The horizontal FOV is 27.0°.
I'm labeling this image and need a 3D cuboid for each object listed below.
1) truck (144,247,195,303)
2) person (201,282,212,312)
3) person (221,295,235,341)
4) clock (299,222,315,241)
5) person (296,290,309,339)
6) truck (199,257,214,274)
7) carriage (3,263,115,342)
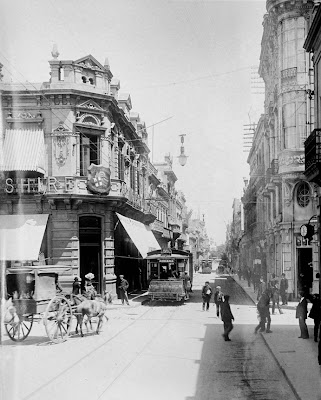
[{"bbox_3d":[0.596,4.067,36.647,2.283,3.105,6.374,1,-7,2],"label":"truck"},{"bbox_3d":[2.142,4.290,30.258,0.403,1.510,0.402,2,26,0],"label":"person"},{"bbox_3d":[2.333,4.058,23.056,0.429,1.519,1.653,0,-7,6],"label":"person"},{"bbox_3d":[5.950,1.269,26.839,0.350,0.721,1.195,0,-7,5],"label":"clock"},{"bbox_3d":[4.903,3.958,22.874,0.384,1.439,0.717,-2,1,12],"label":"person"},{"bbox_3d":[6.814,9.423,94.675,1.501,2.189,3.061,0,-7,1],"label":"truck"},{"bbox_3d":[-3.581,3.477,23.076,1.664,2.843,4.605,-2,-4,21],"label":"carriage"}]
